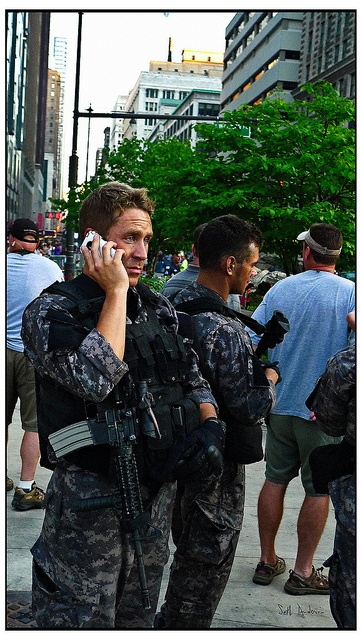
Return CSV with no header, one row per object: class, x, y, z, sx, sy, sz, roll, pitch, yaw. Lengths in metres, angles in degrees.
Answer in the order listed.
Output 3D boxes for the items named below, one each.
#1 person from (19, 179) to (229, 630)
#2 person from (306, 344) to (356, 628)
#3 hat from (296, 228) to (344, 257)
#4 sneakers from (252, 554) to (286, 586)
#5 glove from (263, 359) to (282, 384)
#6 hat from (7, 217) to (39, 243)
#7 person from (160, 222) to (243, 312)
person,-0.193,0.298,1.962,0.694,1.209,0.508,3,-1,-32
person,0.563,0.599,2.081,0.116,1.017,0.375,2,-1,-12
hat,0.940,-0.560,3.829,0.262,0.073,0.187,27,-8,7
sneakers,0.576,1.629,3.706,0.094,0.112,0.266,2,10,30
glove,0.421,0.242,2.616,0.077,0.104,0.040,4,44,22
hat,-1.356,-0.794,4.899,0.180,0.146,0.247,1,16,-24
person,0.223,-0.432,4.902,0.410,0.786,0.901,8,23,29
